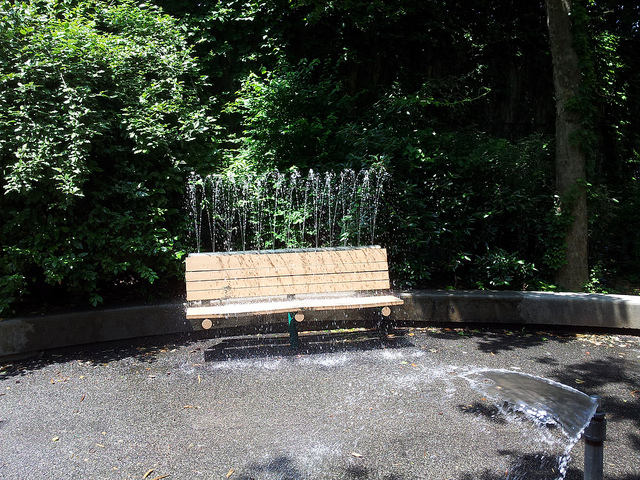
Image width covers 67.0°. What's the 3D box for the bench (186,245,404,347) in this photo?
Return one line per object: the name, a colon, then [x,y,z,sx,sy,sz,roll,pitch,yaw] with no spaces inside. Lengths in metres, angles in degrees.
bench: [-0.320,0.835,6.340,2.677,1.347,0.916,-2,8,-13]
